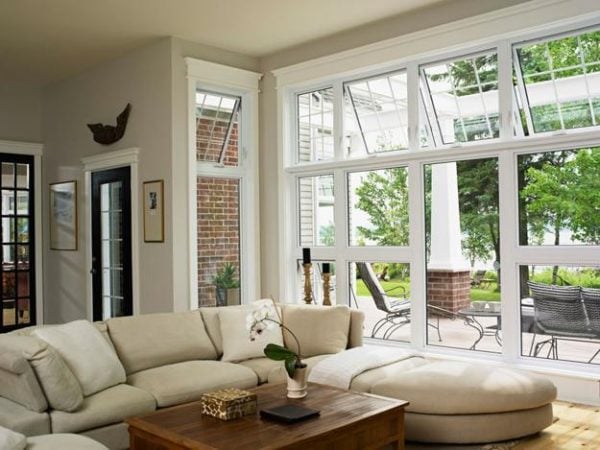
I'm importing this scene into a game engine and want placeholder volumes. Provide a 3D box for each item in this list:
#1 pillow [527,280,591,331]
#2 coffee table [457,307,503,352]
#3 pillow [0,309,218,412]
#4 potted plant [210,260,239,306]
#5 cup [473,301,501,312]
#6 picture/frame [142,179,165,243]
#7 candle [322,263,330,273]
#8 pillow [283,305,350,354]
[{"bbox_3d":[2.512,0.725,4.453,0.419,0.448,0.140,-5,12,38],"label":"pillow"},{"bbox_3d":[1.965,1.108,4.831,0.597,0.419,0.588,-12,-21,29],"label":"coffee table"},{"bbox_3d":[-1.374,0.972,3.462,0.704,0.413,1.563,-4,-2,25],"label":"pillow"},{"bbox_3d":[-0.954,0.778,6.089,0.364,0.570,0.316,0,-3,21],"label":"potted plant"},{"bbox_3d":[1.911,0.839,4.742,0.201,0.071,0.099,-7,-9,43],"label":"cup"},{"bbox_3d":[-1.754,-0.161,5.593,0.411,0.534,0.086,-5,-2,43],"label":"picture/frame"},{"bbox_3d":[0.276,0.447,4.827,0.095,0.100,0.092,-1,3,-31],"label":"candle"},{"bbox_3d":[0.171,0.960,4.193,0.426,0.286,0.144,-2,-24,18],"label":"pillow"}]
